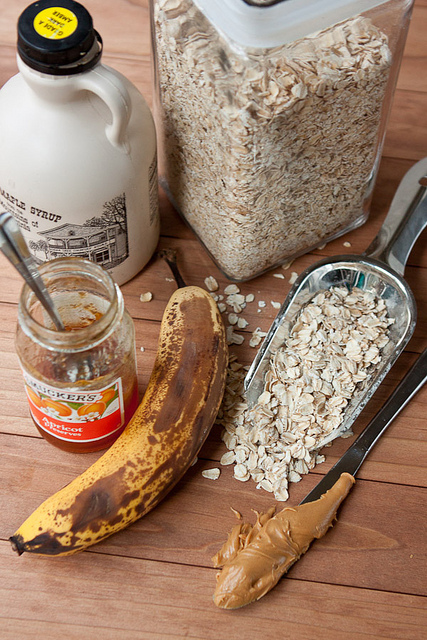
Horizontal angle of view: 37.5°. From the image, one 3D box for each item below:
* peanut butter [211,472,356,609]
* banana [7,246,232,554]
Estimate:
[{"bbox_3d":[0.067,0.205,0.593,0.143,0.031,0.062,-33,57,-23],"label":"peanut butter"},{"bbox_3d":[-0.069,0.075,0.626,0.141,0.095,0.292,34,61,14],"label":"banana"}]
